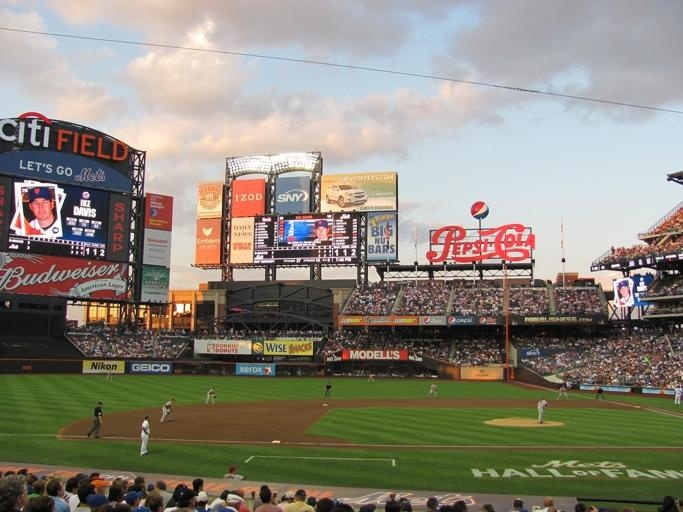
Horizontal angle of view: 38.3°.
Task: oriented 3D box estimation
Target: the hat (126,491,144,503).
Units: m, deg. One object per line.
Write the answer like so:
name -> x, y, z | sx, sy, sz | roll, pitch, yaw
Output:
hat -> -11.784, 13.831, 56.501 | 0.922, 0.578, 1.392 | 6, -8, 11

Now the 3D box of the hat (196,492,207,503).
hat -> -8.141, 14.128, 57.793 | 0.576, 0.602, 0.622 | -1, -6, 18

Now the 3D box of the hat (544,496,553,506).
hat -> 12.174, 14.380, 57.812 | 0.613, 0.733, 0.533 | 1, 2, 9
